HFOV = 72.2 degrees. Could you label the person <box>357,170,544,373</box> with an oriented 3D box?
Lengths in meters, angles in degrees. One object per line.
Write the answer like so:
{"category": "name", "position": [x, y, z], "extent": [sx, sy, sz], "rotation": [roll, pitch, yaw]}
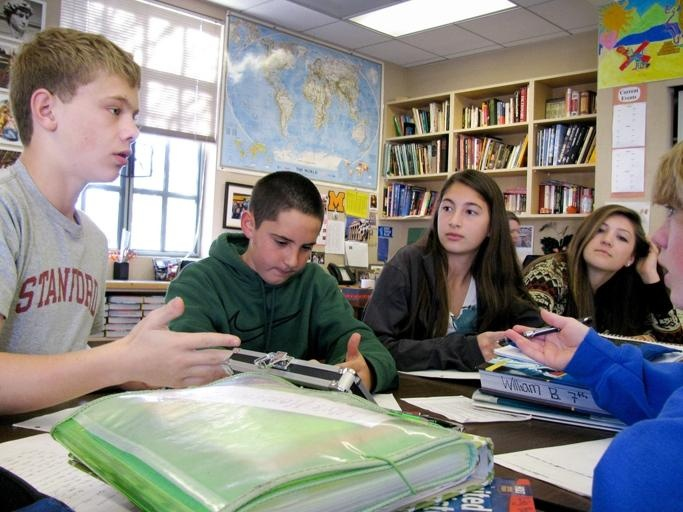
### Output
{"category": "person", "position": [0.434, 0.010, 1.787], "extent": [0.760, 0.697, 0.690], "rotation": [4, -4, 5]}

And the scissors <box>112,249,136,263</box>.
{"category": "scissors", "position": [-1.853, 0.007, 3.968], "extent": [0.081, 0.033, 0.136], "rotation": [-5, 43, -7]}
